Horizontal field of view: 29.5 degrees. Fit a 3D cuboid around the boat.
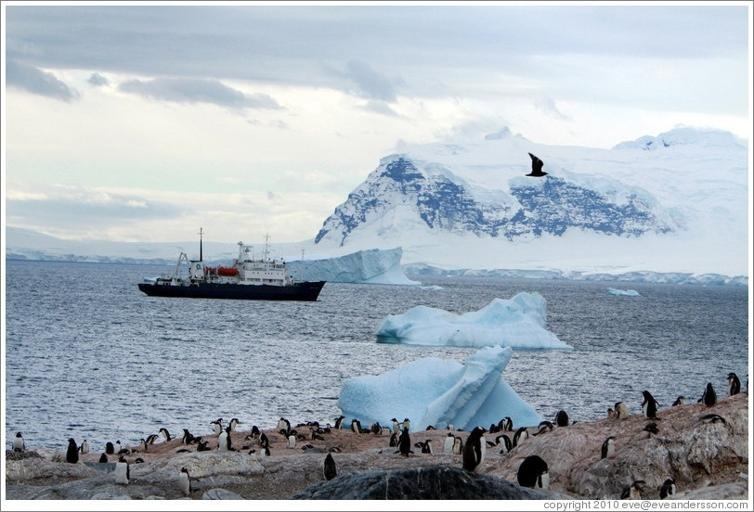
[{"bbox_3d":[-31.415,2.878,313.800,38.858,12.825,8.222,2,7,-2],"label":"boat"}]
